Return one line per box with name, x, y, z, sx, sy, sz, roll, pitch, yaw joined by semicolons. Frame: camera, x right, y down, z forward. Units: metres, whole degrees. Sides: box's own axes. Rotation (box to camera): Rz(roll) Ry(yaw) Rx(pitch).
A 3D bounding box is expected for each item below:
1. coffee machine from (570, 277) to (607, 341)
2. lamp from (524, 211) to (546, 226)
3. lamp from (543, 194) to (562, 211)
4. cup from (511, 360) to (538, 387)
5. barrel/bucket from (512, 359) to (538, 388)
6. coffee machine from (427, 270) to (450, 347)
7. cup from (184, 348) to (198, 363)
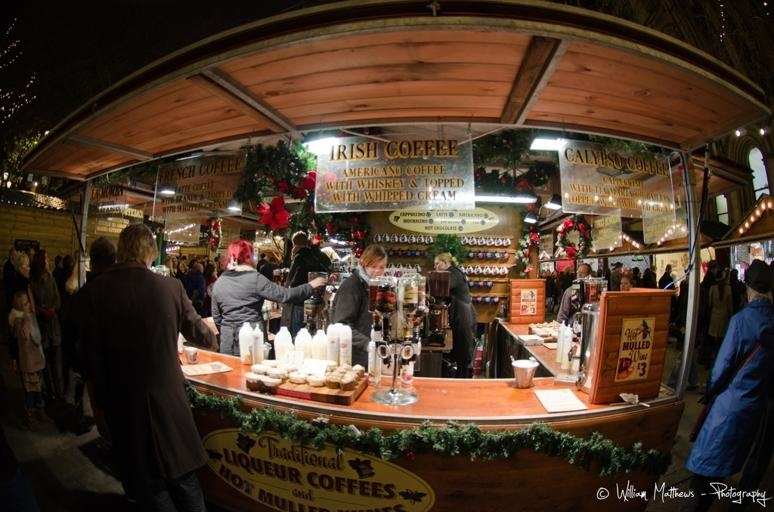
coffee machine;2.260;0.632;5.666;0.485;0.772;0.402;1;2;-12
lamp;2.751;-0.720;9.472;0.247;0.214;0.339;3;-1;4
lamp;2.723;-0.903;8.122;0.207;0.262;1.597;3;-1;17
cup;1.268;1.086;4.549;0.266;0.222;0.249;-1;-6;0
barrel/bucket;1.264;1.093;4.555;0.269;0.230;0.249;-1;-5;0
coffee machine;0.603;0.640;5.883;0.283;0.804;0.368;3;-1;7
cup;-2.031;1.044;5.054;0.136;0.119;0.151;1;-11;-6
